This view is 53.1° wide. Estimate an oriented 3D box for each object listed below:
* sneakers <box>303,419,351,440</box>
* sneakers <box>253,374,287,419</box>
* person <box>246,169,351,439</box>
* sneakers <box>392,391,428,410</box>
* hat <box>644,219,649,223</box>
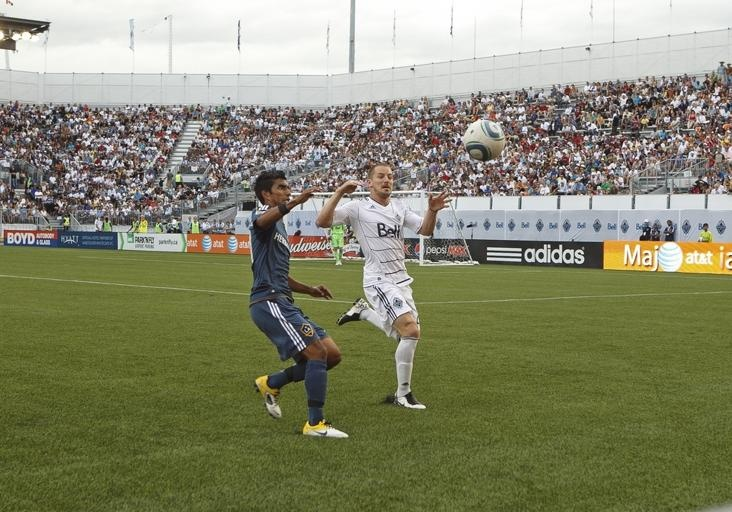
[{"bbox_3d":[-0.369,1.596,6.819,0.433,0.178,0.161,1,-6,3],"label":"sneakers"},{"bbox_3d":[-0.969,1.379,7.370,0.248,0.524,0.181,-19,7,14],"label":"sneakers"},{"bbox_3d":[-0.711,0.398,7.218,0.864,2.501,1.235,0,3,-15],"label":"person"},{"bbox_3d":[0.442,1.505,7.679,0.379,0.160,0.148,-2,-2,31],"label":"sneakers"},{"bbox_3d":[11.134,-1.378,29.190,0.184,0.166,0.310,-13,4,17],"label":"hat"}]
